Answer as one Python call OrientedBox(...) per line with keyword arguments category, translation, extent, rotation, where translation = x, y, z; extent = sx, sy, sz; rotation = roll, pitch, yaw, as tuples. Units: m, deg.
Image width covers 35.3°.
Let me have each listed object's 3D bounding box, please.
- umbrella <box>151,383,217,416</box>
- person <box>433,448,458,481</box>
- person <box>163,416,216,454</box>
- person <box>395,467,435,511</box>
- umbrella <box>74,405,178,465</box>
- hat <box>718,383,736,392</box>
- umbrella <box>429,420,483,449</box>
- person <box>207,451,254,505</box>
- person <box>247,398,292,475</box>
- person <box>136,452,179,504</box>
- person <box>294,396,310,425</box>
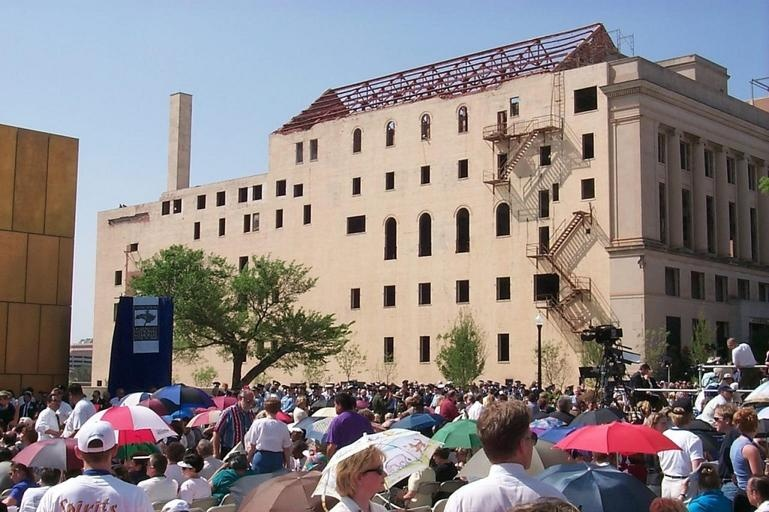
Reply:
OrientedBox(category="umbrella", translation=(-7.647, 5.488, 46.299), extent=(1.425, 1.317, 1.472), rotation=(4, -14, 16))
OrientedBox(category="person", translation=(1.981, 7.006, 40.430), extent=(0.935, 0.966, 0.534), rotation=(7, -11, -36))
OrientedBox(category="person", translation=(-6.823, 6.258, 41.918), extent=(1.256, 0.837, 2.483), rotation=(-7, 14, -37))
OrientedBox(category="person", translation=(1.079, 7.627, 40.006), extent=(1.132, 1.917, 1.350), rotation=(1, 2, -29))
OrientedBox(category="umbrella", translation=(-8.527, 5.771, 40.347), extent=(2.249, 2.079, 2.329), rotation=(-6, -4, 19))
OrientedBox(category="hat", translation=(13.662, 5.244, 47.926), extent=(0.596, 0.192, 0.425), rotation=(6, -5, -38))
OrientedBox(category="umbrella", translation=(2.511, 6.011, 40.440), extent=(1.602, 0.604, 1.638), rotation=(-3, -7, -21))
OrientedBox(category="person", translation=(-4.962, 7.144, 38.437), extent=(0.685, 1.275, 1.274), rotation=(3, 9, 33))
OrientedBox(category="person", translation=(-3.867, 5.934, 39.997), extent=(1.505, 2.489, 0.570), rotation=(1, -13, -5))
OrientedBox(category="person", translation=(-7.111, 6.973, 37.541), extent=(1.392, 1.428, 0.813), rotation=(-1, 0, -19))
OrientedBox(category="person", translation=(-3.222, 5.820, 45.975), extent=(0.517, 0.931, 1.027), rotation=(1, -14, -7))
